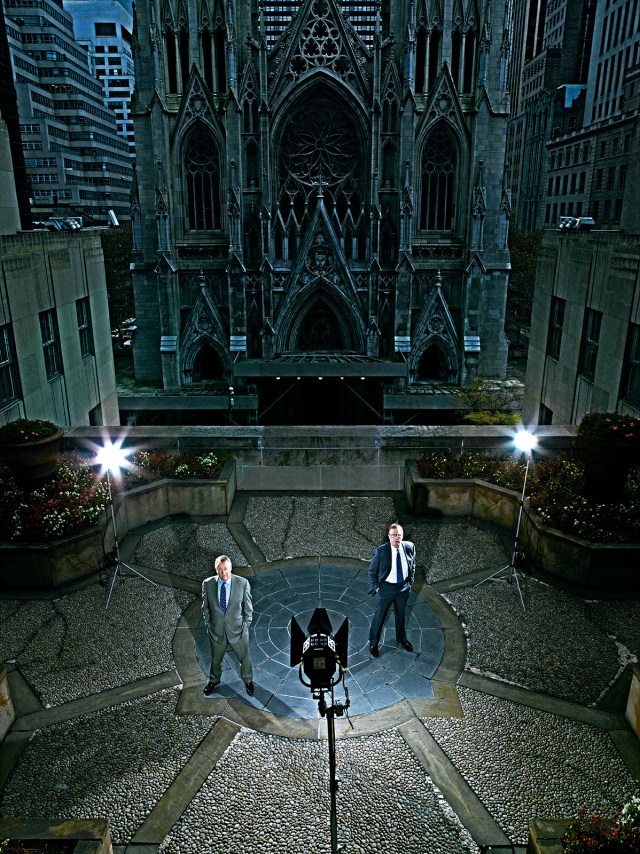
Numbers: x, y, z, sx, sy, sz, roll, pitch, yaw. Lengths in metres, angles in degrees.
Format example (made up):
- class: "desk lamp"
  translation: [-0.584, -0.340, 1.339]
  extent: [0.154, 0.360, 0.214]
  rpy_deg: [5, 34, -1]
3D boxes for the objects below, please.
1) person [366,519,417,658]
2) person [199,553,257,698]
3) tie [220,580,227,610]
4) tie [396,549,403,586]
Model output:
- class: "person"
  translation: [1.029, 2.202, 7.783]
  extent: [0.606, 2.095, 1.122]
  rpy_deg: [1, 12, 9]
- class: "person"
  translation: [-1.153, 2.418, 6.634]
  extent: [0.644, 1.963, 0.494]
  rpy_deg: [-1, 12, -4]
- class: "tie"
  translation: [-1.139, 1.997, 6.422]
  extent: [0.081, 0.353, 0.041]
  rpy_deg: [-3, 12, -10]
- class: "tie"
  translation: [1.069, 1.886, 7.244]
  extent: [0.112, 0.504, 0.046]
  rpy_deg: [-9, 15, -34]
